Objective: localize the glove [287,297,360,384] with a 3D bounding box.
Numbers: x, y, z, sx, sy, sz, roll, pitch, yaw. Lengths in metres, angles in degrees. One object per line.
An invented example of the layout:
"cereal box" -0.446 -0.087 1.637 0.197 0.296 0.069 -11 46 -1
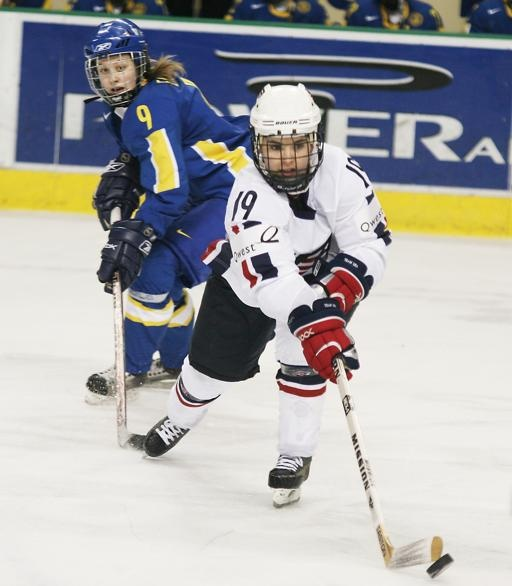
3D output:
"glove" 0.148 0.097 1.762 0.134 0.197 0.085 -25 8 23

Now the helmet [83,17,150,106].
"helmet" -0.429 -0.750 2.561 0.193 0.287 0.214 9 14 20

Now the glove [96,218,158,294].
"glove" -0.379 -0.109 2.424 0.154 0.221 0.096 29 3 12

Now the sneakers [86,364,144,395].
"sneakers" -0.451 0.283 2.577 0.078 0.057 0.186 -19 -8 39

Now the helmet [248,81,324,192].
"helmet" 0.071 -0.381 1.871 0.192 0.210 0.222 -1 35 2

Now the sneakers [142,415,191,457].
"sneakers" -0.223 0.373 2.138 0.064 0.054 0.173 -21 11 40

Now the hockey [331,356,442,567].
"hockey" 0.202 0.309 1.717 0.102 0.091 0.650 4 31 -18
